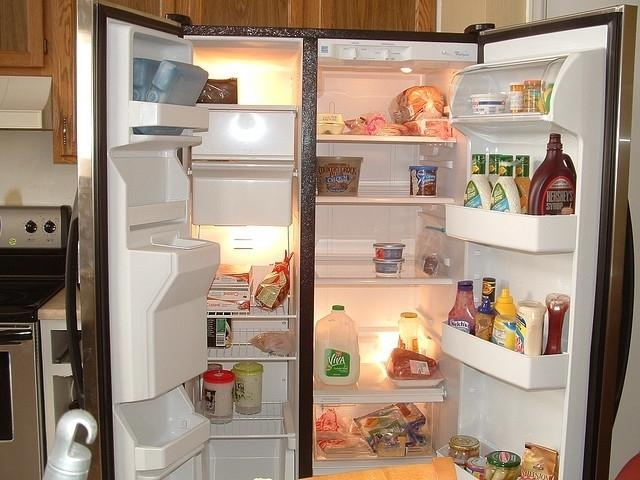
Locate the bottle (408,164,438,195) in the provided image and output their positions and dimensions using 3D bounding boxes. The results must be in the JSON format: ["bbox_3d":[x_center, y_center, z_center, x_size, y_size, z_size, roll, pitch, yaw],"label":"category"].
[{"bbox_3d":[0.434,-0.268,2.278,0.125,0.131,0.125,0,7,-2],"label":"bottle"}]

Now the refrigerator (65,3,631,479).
[{"bbox_3d":[0.096,0.100,2.092,1.618,1.874,1.220,-2,7,-2],"label":"refrigerator"}]

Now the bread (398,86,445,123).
[{"bbox_3d":[0.443,-0.608,2.358,0.188,0.147,0.140,18,26,23],"label":"bread"}]

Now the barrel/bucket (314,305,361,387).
[{"bbox_3d":[0.071,0.490,2.477,0.256,0.379,0.235,2,-7,0],"label":"barrel/bucket"}]

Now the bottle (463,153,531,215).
[{"bbox_3d":[0.595,-0.182,1.735,0.194,0.187,0.070,13,21,41],"label":"bottle"}]
